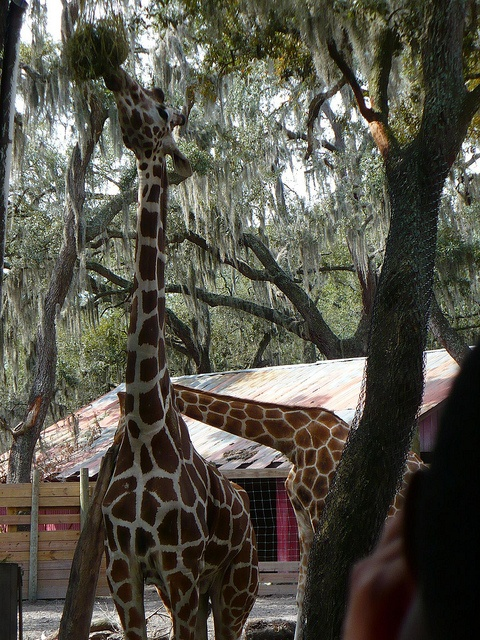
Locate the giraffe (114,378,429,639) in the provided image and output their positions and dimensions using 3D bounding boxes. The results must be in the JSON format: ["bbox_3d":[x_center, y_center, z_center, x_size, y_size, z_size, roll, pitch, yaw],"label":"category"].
[{"bbox_3d":[0.103,0.995,4.772,1.263,1.241,1.181,-1,-16,23],"label":"giraffe"}]
